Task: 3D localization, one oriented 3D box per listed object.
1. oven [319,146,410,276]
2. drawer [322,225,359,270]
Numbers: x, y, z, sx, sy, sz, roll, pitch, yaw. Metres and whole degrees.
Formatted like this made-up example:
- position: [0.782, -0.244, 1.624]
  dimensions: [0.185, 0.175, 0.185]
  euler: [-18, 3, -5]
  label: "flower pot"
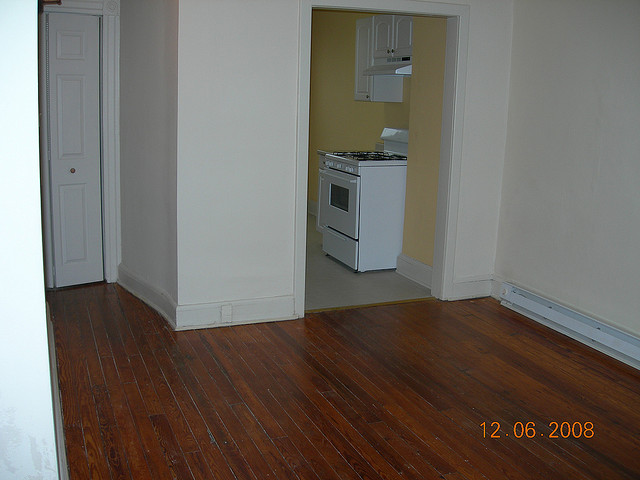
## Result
- position: [0.477, -0.414, 5.757]
  dimensions: [0.820, 1.261, 0.960]
  euler: [-4, 15, -21]
  label: "oven"
- position: [0.253, 0.098, 5.584]
  dimensions: [0.370, 0.325, 0.596]
  euler: [-3, 22, -36]
  label: "drawer"
